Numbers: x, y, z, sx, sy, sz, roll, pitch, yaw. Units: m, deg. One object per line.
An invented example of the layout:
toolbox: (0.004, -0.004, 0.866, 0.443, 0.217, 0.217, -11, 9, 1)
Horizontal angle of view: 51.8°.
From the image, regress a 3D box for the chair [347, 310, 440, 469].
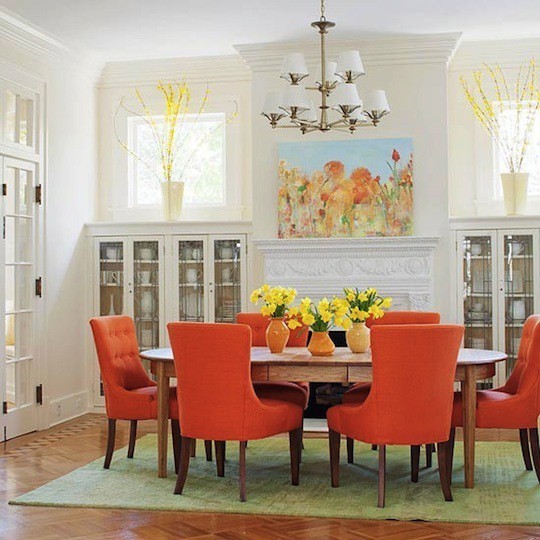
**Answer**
chair: (0.926, 0.868, 3.717, 0.574, 1.153, 0.698, -4, 6, -7)

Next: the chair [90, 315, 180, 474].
chair: (-0.877, 0.820, 3.809, 0.539, 1.027, 0.559, -3, -3, 18)

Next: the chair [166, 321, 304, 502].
chair: (-0.201, 0.763, 3.177, 0.547, 1.012, 0.656, -2, 0, 23)

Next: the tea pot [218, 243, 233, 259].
tea pot: (-0.440, -0.181, 5.515, 0.117, 0.164, 0.127, 0, -1, 0)

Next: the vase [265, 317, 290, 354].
vase: (0.048, 0.416, 3.567, 0.146, 0.228, 0.168, 5, 4, 11)

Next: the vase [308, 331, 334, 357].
vase: (0.316, 0.457, 3.441, 0.127, 0.136, 0.138, -2, -1, 31)

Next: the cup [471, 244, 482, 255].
cup: (1.936, -0.187, 5.205, 0.085, 0.083, 0.084, 0, 0, 0)

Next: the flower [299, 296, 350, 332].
flower: (0.329, 0.324, 3.444, 0.209, 0.149, 0.224, -2, 6, 30)

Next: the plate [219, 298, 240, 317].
plate: (-0.385, 0.365, 5.570, 0.236, 0.282, 0.142, 0, -1, 3)

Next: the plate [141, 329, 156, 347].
plate: (-1.232, 0.678, 5.658, 0.140, 0.195, 0.154, 1, 3, 25)

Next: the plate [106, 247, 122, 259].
plate: (-1.610, -0.164, 5.722, 0.159, 0.195, 0.097, 0, -3, 11)

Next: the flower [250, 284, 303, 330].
flower: (0.075, 0.233, 3.555, 0.247, 0.292, 0.236, -3, -7, -35)

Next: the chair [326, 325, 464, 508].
chair: (0.702, 0.758, 3.080, 0.502, 1.018, 0.639, 0, 1, -21)

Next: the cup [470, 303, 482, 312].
cup: (1.951, 0.354, 5.232, 0.068, 0.061, 0.075, 2, -3, 0)

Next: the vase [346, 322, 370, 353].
vase: (0.536, 0.431, 3.509, 0.147, 0.215, 0.167, 1, -9, 1)

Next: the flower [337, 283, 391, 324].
flower: (0.570, 0.194, 3.453, 0.177, 0.190, 0.213, -4, 4, 13)
